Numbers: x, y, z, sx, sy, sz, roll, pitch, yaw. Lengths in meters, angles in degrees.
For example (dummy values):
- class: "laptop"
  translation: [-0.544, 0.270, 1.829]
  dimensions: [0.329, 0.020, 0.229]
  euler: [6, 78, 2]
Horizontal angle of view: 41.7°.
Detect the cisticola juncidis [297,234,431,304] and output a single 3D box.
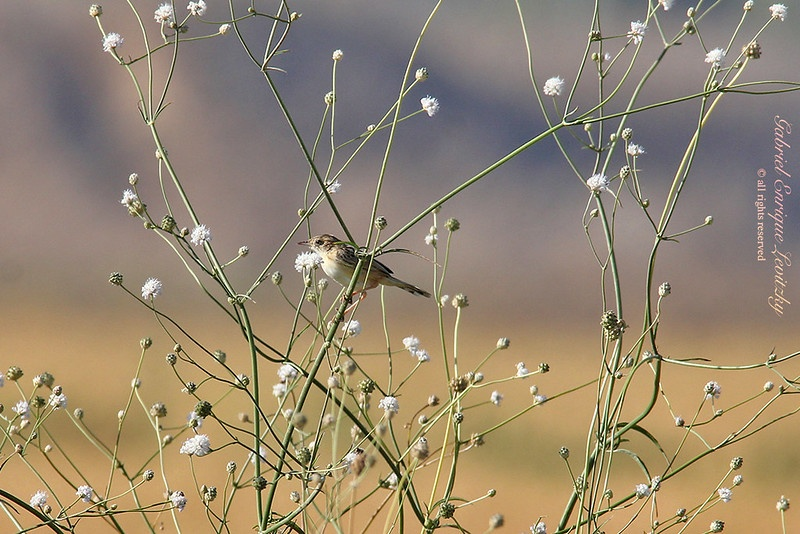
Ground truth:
- class: "cisticola juncidis"
  translation: [-0.354, -0.019, 7.487]
  dimensions: [1.157, 0.550, 0.406]
  euler: [4, -7, 2]
